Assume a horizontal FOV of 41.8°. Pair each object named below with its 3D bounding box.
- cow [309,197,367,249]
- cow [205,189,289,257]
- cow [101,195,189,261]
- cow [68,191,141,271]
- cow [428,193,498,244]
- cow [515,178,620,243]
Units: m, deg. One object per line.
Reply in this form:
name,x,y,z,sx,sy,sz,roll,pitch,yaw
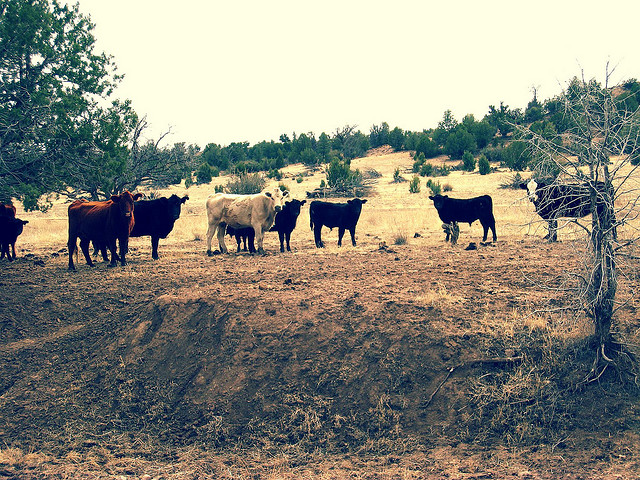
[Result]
cow,0.577,-0.611,29.459,1.896,1.645,1.380,-2,10,2
cow,-2.552,-0.619,28.076,2.501,2.074,1.318,-2,10,1
cow,-5.642,-0.359,27.514,2.978,2.069,1.268,-1,-7,18
cow,-6.761,-0.225,26.117,3.112,2.387,1.204,-4,-4,34
cow,4.942,-0.707,28.577,2.071,1.618,1.096,0,10,14
cow,6.501,-0.739,22.085,2.895,1.804,1.006,2,-4,45
